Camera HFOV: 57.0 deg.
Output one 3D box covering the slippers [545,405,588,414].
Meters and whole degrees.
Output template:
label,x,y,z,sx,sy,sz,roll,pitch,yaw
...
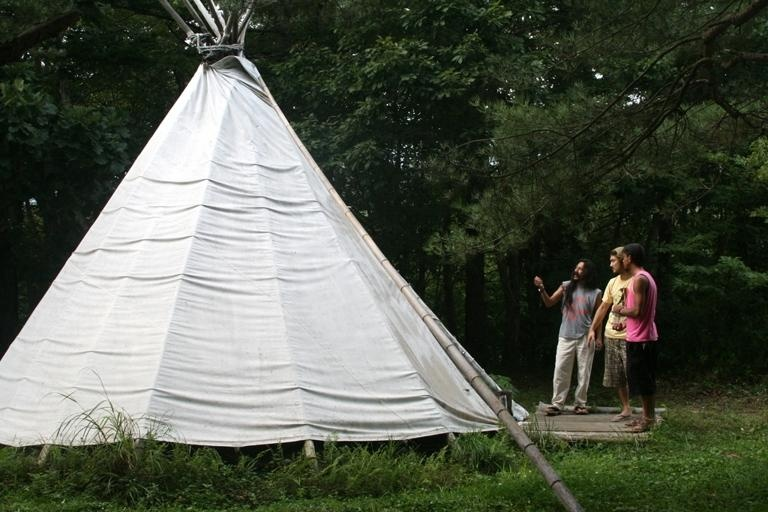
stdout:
label,x,y,z,sx,sy,sz,roll,pitch,yaw
slippers,2.949,2.491,11.370,0.698,0.193,0.238,5,-9,-7
